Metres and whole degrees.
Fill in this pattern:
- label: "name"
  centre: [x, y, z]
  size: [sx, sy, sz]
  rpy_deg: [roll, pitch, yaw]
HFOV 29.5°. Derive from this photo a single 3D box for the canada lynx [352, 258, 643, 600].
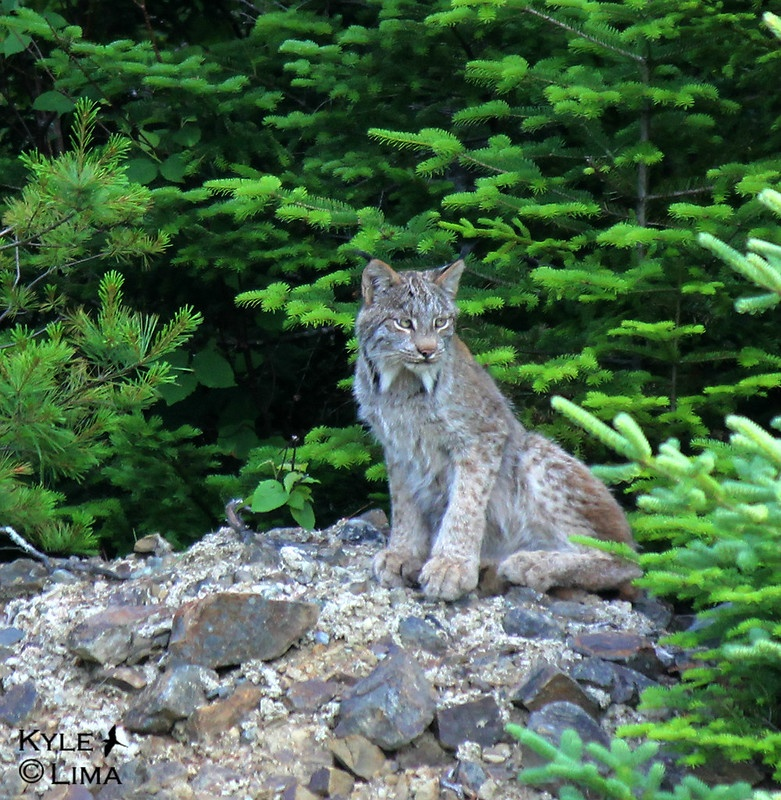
- label: "canada lynx"
  centre: [0.531, 0.166, 7.140]
  size: [1.399, 1.643, 1.067]
  rpy_deg: [-3, -25, 6]
